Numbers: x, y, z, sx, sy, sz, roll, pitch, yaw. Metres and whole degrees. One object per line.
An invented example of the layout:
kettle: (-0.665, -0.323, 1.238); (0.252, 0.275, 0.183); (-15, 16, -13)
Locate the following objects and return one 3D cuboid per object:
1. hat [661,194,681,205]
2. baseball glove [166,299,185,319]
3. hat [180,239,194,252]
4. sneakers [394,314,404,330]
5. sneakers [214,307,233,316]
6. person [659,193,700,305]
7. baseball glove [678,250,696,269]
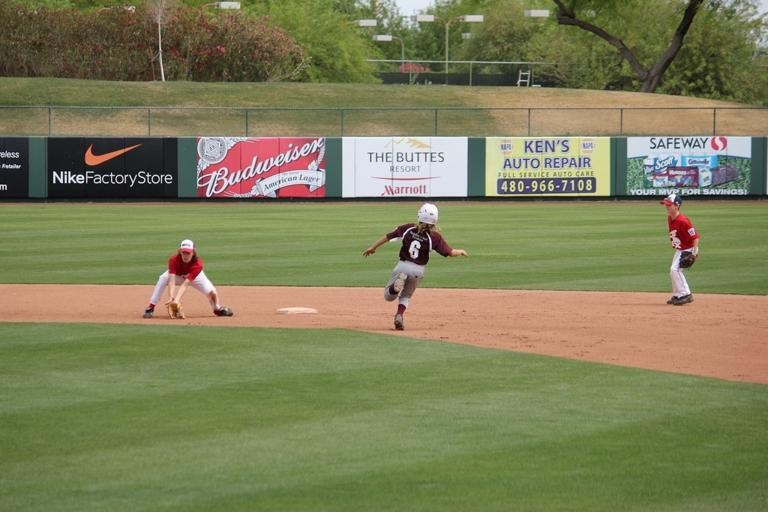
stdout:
hat: (8.851, -1.751, 38.765); (0.637, 0.299, 0.408); (-1, 3, -2)
baseball glove: (-6.054, 1.533, 36.868); (0.495, 0.554, 0.287); (-7, 15, -16)
hat: (-5.692, -0.324, 36.794); (0.366, 0.369, 0.426); (-3, 4, -8)
sneakers: (0.452, 1.845, 36.095); (0.203, 0.501, 0.232); (2, 49, 7)
sneakers: (-4.679, 1.589, 37.240); (0.469, 0.191, 0.239); (2, -1, -4)
person: (9.059, -0.254, 38.648); (0.941, 3.300, 1.136); (-1, 5, 12)
baseball glove: (9.291, 0.088, 38.668); (0.482, 0.499, 0.544); (14, -3, -22)
